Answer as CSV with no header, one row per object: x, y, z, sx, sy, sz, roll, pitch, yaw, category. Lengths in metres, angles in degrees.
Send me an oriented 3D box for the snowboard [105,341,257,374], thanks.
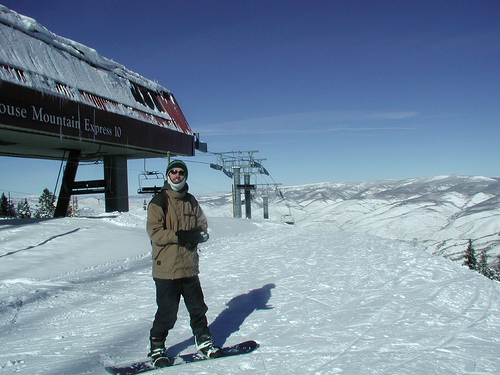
-0.966,2.440,4.995,1.974,0.128,0.367,1,-3,-19,snowboard

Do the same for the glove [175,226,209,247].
-0.823,0.676,5.013,0.382,0.122,0.363,0,1,31,glove

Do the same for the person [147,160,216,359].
-1.002,1.021,5.078,0.921,2.847,0.405,1,0,-14,person
